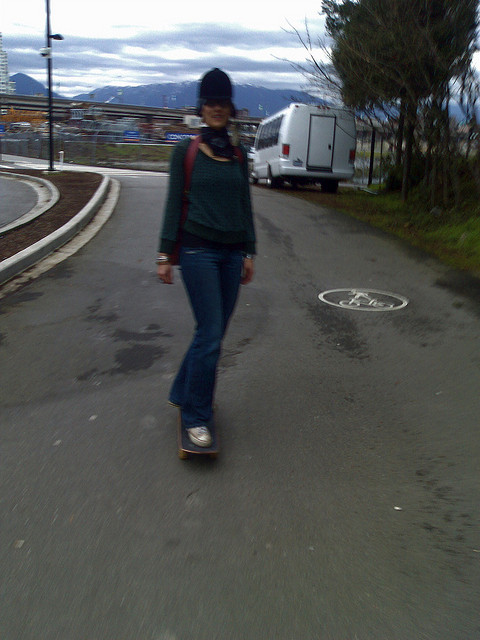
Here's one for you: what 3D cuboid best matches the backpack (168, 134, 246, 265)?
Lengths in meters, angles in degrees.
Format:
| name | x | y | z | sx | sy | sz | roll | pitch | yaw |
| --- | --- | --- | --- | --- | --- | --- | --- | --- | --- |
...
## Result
| name | x | y | z | sx | sy | sz | roll | pitch | yaw |
| --- | --- | --- | --- | --- | --- | --- | --- | --- | --- |
| backpack | -0.127 | -0.626 | 2.445 | 0.371 | 0.760 | 0.696 | 9 | -9 | 5 |

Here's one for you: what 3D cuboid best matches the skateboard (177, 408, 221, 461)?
| name | x | y | z | sx | sy | sz | roll | pitch | yaw |
| --- | --- | --- | --- | --- | --- | --- | --- | --- | --- |
| skateboard | -0.265 | 0.713 | 2.605 | 0.251 | 0.124 | 0.561 | 9 | 11 | -9 |
